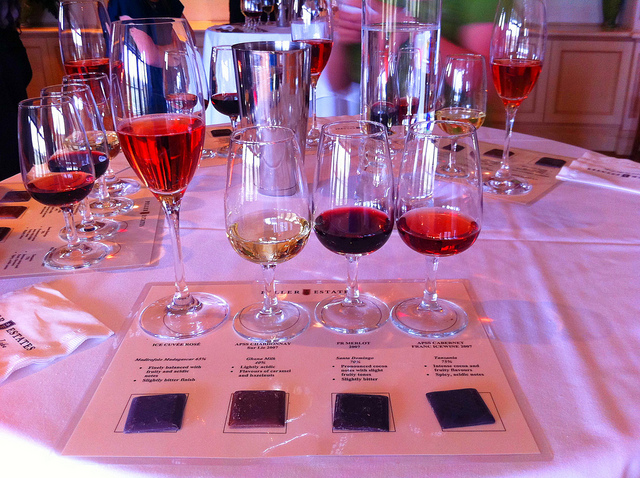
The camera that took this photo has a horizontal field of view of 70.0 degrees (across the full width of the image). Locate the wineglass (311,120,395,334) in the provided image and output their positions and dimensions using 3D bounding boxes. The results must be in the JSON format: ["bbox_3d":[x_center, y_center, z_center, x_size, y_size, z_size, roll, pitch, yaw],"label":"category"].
[{"bbox_3d":[0.049,-0.018,0.686,0.136,0.295,0.152,0,24,0],"label":"wineglass"}]

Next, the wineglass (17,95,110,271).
[{"bbox_3d":[-0.444,-0.092,0.869,0.143,0.324,0.167,24,32,39],"label":"wineglass"}]

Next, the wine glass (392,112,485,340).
[{"bbox_3d":[0.199,-0.053,0.730,0.124,0.262,0.355,9,28,19],"label":"wine glass"}]

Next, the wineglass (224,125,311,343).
[{"bbox_3d":[-0.067,0.009,0.667,0.123,0.318,0.122,-9,28,-22],"label":"wineglass"}]

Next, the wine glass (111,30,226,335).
[{"bbox_3d":[-0.222,-0.092,0.672,0.129,0.390,0.254,-7,27,-12],"label":"wine glass"}]
